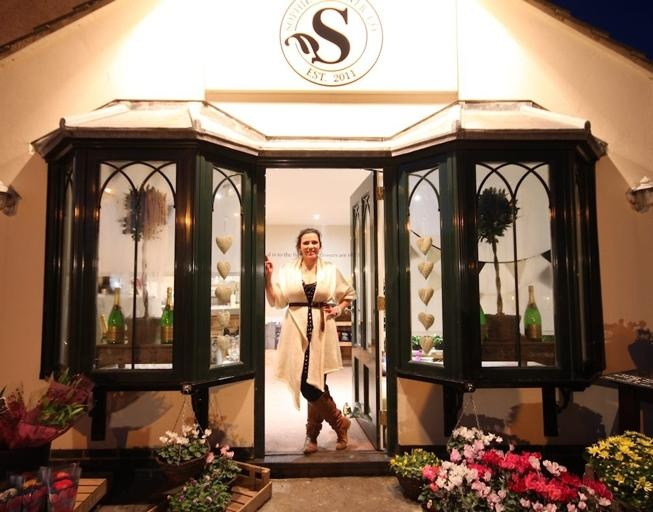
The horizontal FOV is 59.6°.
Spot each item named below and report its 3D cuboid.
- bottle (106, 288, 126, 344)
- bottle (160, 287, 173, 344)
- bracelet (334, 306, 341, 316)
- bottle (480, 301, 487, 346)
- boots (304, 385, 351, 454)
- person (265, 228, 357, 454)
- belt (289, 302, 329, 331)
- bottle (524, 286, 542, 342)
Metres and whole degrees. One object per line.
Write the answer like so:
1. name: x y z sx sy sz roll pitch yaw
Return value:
1. bottle: -1.419 0.403 3.836 0.116 0.363 0.036 -1 -6 8
2. bottle: -1.081 0.398 3.843 0.090 0.377 0.027 -2 -6 12
3. bracelet: 0.085 0.425 4.359 0.047 0.062 0.063 -3 2 2
4. bottle: 1.070 0.464 3.878 0.055 0.255 0.018 1 -6 -19
5. boots: -0.026 1.264 4.373 0.361 0.551 0.407 -2 -13 1
6. person: -0.122 0.618 4.386 0.721 1.733 0.402 1 -6 -13
7. belt: -0.116 0.428 4.315 0.208 0.189 0.244 -4 -4 28
8. bottle: 1.403 0.388 3.879 0.118 0.372 0.023 0 -6 -6
